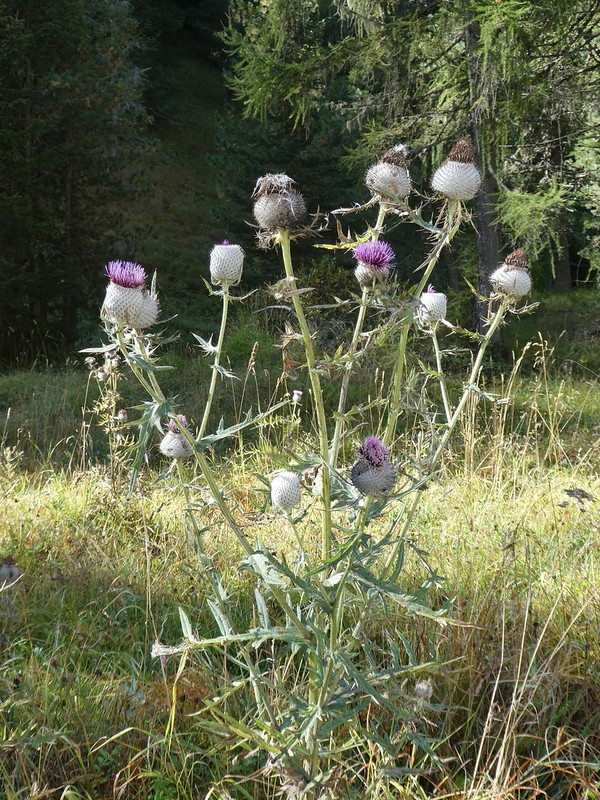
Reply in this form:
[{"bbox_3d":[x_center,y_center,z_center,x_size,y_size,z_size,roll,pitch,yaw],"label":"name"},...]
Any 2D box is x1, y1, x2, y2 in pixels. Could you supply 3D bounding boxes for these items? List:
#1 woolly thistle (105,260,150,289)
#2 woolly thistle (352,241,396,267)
[{"bbox_3d":[-0.442,-0.320,2.059,0.110,0.060,0.106,21,16,-11],"label":"woolly thistle"},{"bbox_3d":[0.196,-0.391,2.172,0.092,0.052,0.091,18,15,35],"label":"woolly thistle"}]
